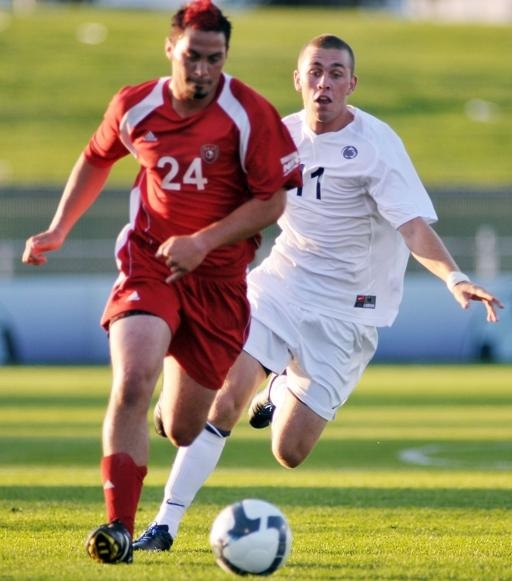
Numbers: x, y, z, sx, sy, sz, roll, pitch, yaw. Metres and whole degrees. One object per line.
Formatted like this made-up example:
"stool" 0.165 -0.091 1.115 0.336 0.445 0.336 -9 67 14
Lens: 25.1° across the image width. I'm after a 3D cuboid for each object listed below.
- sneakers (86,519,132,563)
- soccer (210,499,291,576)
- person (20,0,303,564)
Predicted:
"sneakers" -0.592 1.038 4.727 0.124 0.212 0.141 -4 48 4
"soccer" -0.029 1.054 4.905 0.321 0.276 0.304 -3 -10 -6
"person" -0.350 -0.030 5.173 1.102 2.496 1.318 1 17 -11
